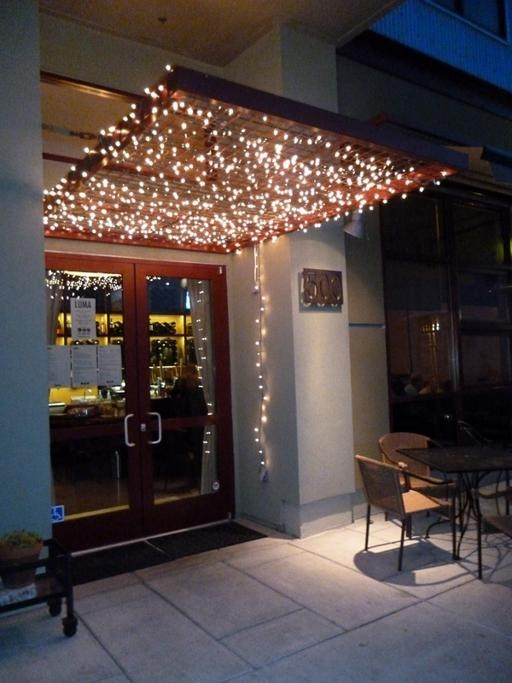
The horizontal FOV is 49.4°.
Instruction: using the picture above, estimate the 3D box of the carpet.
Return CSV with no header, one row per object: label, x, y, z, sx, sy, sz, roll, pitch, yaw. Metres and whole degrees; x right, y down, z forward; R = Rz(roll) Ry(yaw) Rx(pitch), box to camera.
carpet,-0.746,1.685,4.550,1.626,0.049,0.648,-1,-3,-35
